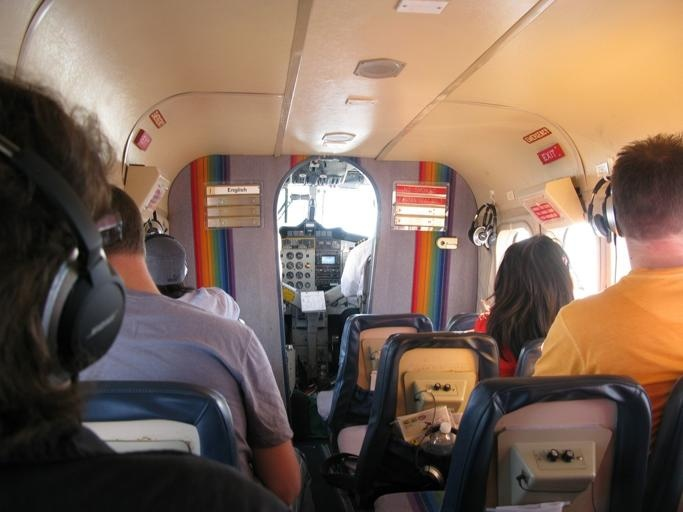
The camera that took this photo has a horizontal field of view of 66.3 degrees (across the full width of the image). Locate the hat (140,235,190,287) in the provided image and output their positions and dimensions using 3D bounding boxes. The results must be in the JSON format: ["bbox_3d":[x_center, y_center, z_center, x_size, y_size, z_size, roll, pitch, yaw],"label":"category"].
[{"bbox_3d":[-0.891,0.020,2.652,0.187,0.243,0.257,-4,4,-21],"label":"hat"}]

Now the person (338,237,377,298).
[{"bbox_3d":[0.182,0.163,6.200,0.248,0.693,0.794,2,1,-11],"label":"person"}]

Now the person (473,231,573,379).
[{"bbox_3d":[1.057,0.236,3.093,0.383,0.914,0.516,22,-13,-34],"label":"person"}]
